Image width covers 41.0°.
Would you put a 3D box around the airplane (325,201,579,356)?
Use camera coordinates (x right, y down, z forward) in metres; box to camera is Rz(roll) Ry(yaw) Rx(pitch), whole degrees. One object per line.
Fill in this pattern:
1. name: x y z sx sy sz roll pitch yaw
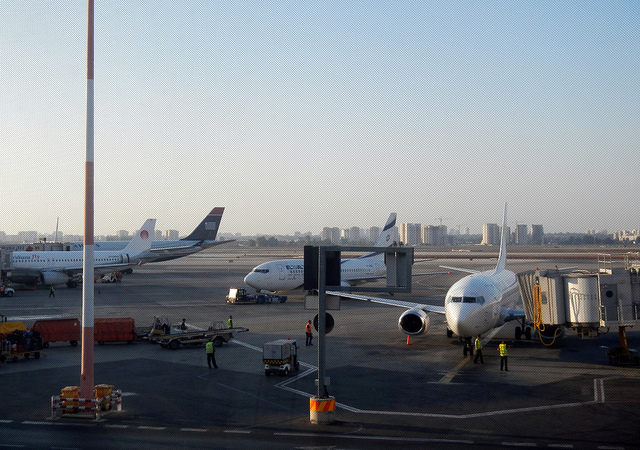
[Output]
1. airplane: 9.531 5.273 66.262 14.977 6.170 16.061 5 24 -43

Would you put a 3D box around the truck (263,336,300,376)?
1. truck: -2.685 9.438 60.658 1.761 2.004 3.355 -4 -4 18
